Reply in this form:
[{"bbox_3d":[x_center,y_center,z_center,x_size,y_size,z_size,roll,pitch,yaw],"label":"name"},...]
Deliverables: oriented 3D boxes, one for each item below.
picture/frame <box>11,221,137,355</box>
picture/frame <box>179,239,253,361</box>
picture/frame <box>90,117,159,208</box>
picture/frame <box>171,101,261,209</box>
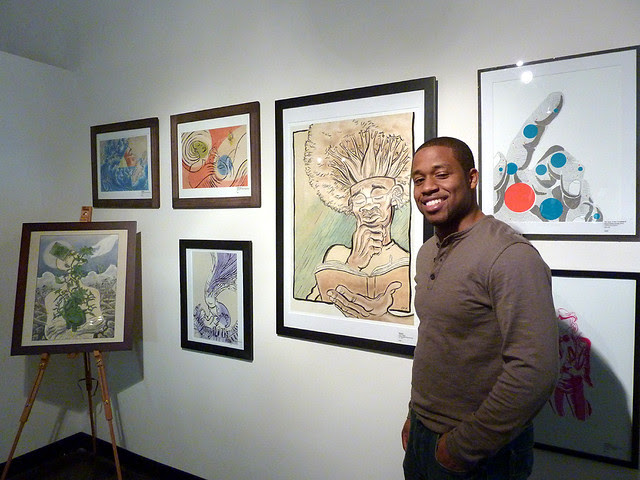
[{"bbox_3d":[-1.518,0.301,3.030,0.742,0.929,0.043,-1,-11,1],"label":"picture/frame"},{"bbox_3d":[-0.611,0.351,2.962,0.673,0.939,0.064,1,4,26],"label":"picture/frame"},{"bbox_3d":[-1.279,-0.521,3.248,0.551,0.569,0.044,3,7,29],"label":"picture/frame"},{"bbox_3d":[-0.600,-0.514,2.921,0.592,0.611,0.025,3,7,30],"label":"picture/frame"}]
